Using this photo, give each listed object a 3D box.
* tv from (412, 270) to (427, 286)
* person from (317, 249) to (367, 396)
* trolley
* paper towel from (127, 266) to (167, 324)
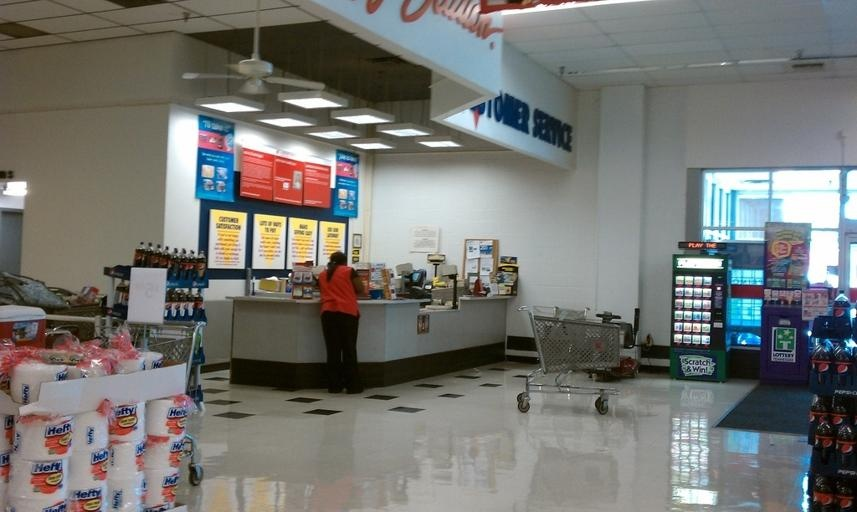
[{"bbox_3d":[-0.239,0.402,12.144,0.287,0.281,0.308,9,5,32],"label":"tv"},{"bbox_3d":[-1.318,1.078,9.440,0.699,1.889,0.276,2,2,-1],"label":"person"},{"bbox_3d":[1.973,1.494,9.097,1.478,1.262,0.839,0,-15,8],"label":"trolley"},{"bbox_3d":[-2.585,0.366,5.849,0.327,0.518,0.220,2,2,-13],"label":"paper towel"}]
